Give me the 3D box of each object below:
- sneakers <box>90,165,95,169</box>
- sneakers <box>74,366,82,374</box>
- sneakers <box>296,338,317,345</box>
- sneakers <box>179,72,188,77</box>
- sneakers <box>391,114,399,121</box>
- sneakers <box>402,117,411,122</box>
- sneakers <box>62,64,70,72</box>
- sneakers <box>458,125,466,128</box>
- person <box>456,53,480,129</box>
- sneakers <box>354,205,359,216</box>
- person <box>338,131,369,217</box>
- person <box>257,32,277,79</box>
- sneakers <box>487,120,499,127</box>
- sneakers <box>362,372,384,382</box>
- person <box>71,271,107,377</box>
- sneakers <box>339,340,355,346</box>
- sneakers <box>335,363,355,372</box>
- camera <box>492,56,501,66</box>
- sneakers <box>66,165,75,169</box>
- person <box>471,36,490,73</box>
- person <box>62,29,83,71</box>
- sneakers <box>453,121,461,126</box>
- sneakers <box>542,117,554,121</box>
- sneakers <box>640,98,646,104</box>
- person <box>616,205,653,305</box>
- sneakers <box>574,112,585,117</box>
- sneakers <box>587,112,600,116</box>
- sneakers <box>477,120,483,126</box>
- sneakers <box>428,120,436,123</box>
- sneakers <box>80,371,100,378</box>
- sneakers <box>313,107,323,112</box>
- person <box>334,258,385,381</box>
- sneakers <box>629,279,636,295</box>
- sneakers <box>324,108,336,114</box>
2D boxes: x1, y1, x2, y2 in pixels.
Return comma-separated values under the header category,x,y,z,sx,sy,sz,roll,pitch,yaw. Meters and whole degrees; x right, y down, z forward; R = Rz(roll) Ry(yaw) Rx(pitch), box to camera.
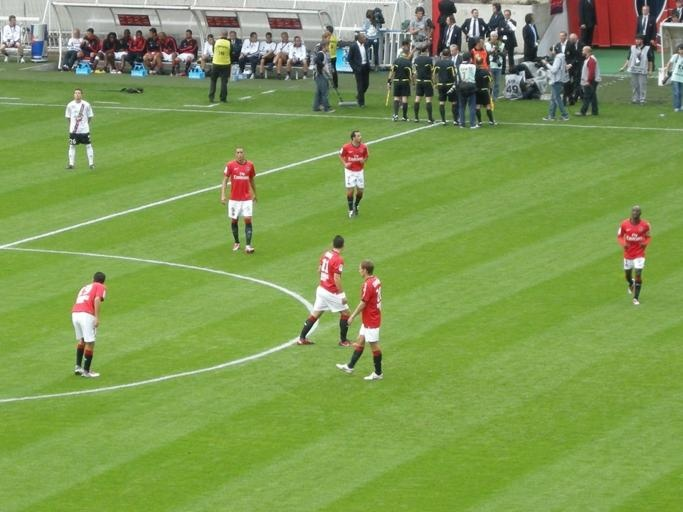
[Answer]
category,x,y,z,sx,sy,sz,roll,pitch,yaw
sneakers,-7.399,-2.654,44.104,0.119,0.097,0.097,7,18,34
sneakers,-5.677,2.439,31.814,0.122,0.178,0.192,1,7,-32
sneakers,-0.768,1.877,33.004,0.396,0.163,0.129,0,13,-15
sneakers,-6.122,-7.055,57.599,0.189,0.125,0.298,-35,14,-28
sneakers,1.730,-4.440,47.620,0.138,0.210,0.216,0,0,-7
sneakers,2.094,-4.393,47.739,0.276,0.115,0.098,-5,8,-43
sneakers,-10.965,-7.518,59.272,0.176,0.191,0.502,-2,4,-19
sneakers,3.767,-4.062,46.466,0.124,0.090,0.130,6,11,33
person,3.908,-4.994,45.823,0.595,2.165,1.020,0,12,4
sneakers,0.403,-1.212,39.425,0.086,0.245,0.180,-4,8,3
person,0.343,-2.207,39.378,0.666,2.300,1.033,-1,12,1
person,-2.813,-7.605,56.141,0.696,1.693,1.262,-2,12,-3
sneakers,4.743,-4.170,46.461,0.335,0.133,0.109,-5,15,-26
sneakers,0.674,2.538,31.345,0.318,0.128,0.170,1,4,12
person,-5.423,1.473,31.794,0.700,2.154,0.788,-1,12,3
sneakers,0.112,1.908,32.954,0.317,0.126,0.112,1,4,4
sneakers,0.080,2.369,31.652,0.357,0.164,0.131,21,5,13
camera,5.314,-6.643,50.409,0.149,0.308,0.455,9,23,19
sneakers,-8.043,-2.648,44.109,0.130,0.098,0.256,1,-1,9
person,4.380,-6.516,47.620,0.437,1.322,0.279,-6,47,15
person,-10.818,-8.123,59.439,0.664,1.957,0.621,7,-3,16
sneakers,3.680,-4.228,47.039,0.257,0.226,0.105,0,13,1
sneakers,6.521,-4.315,46.785,0.334,0.134,0.132,5,8,20
sneakers,10.007,-5.122,49.246,0.149,0.160,0.258,-1,0,11
person,6.733,-0.077,34.216,0.674,2.215,0.855,1,13,10
sneakers,7.582,-4.509,47.271,0.356,0.145,0.119,5,17,28
sneakers,8.062,-4.553,47.528,0.350,0.142,0.110,14,19,37
sneakers,4.327,-4.148,46.409,0.142,0.219,0.131,0,-2,15
sneakers,2.866,-4.266,47.058,0.288,0.105,0.083,1,13,6
sneakers,-5.362,2.514,31.818,0.413,0.164,0.142,-1,27,-6
sneakers,-0.772,-4.890,49.525,0.223,0.080,0.163,1,4,44
person,0.468,1.340,31.309,0.814,2.480,0.565,2,13,15
sneakers,6.763,0.725,34.510,0.111,0.308,0.133,1,-19,9
sneakers,-0.363,-4.833,49.354,0.138,0.155,0.401,-3,0,-35
